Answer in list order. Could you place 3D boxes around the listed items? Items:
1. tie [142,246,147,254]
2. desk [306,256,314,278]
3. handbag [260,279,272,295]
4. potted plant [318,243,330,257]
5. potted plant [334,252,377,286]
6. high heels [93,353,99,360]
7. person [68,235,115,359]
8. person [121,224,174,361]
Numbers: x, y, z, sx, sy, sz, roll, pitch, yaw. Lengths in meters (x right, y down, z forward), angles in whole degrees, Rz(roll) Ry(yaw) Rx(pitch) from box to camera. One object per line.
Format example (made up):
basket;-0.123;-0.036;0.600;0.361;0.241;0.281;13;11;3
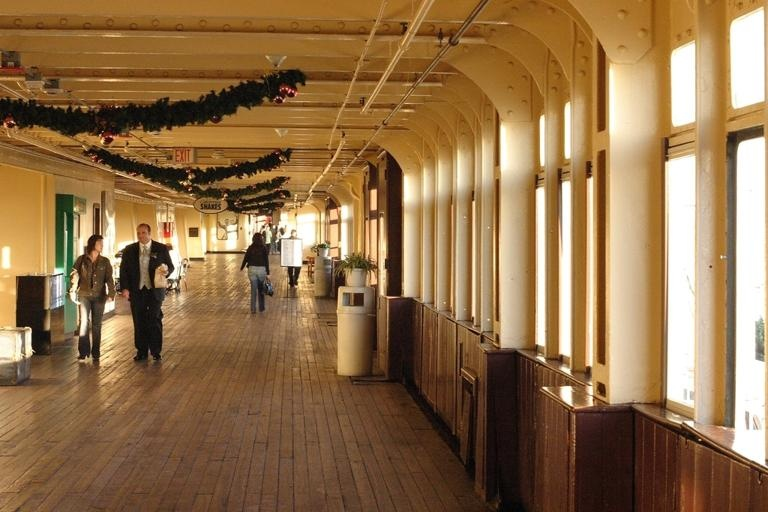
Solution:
tie;-3.687;-0.125;9.946;0.109;0.125;0.047;-1;4;-22
desk;-3.253;0.372;28.551;0.246;0.794;2.636;0;4;-8
handbag;-3.038;0.764;16.578;0.176;0.443;0.453;-8;-2;1
potted plant;-1.799;-0.220;19.611;0.333;0.268;0.340;-3;-6;38
potted plant;-0.415;0.193;9.703;0.575;0.427;0.550;-5;8;-24
high heels;-4.570;1.568;10.244;0.079;0.062;0.081;-4;-10;24
person;-4.633;0.651;10.243;0.616;2.001;0.731;-1;4;-35
person;-3.743;0.562;10.184;0.752;2.174;0.703;0;4;-21
